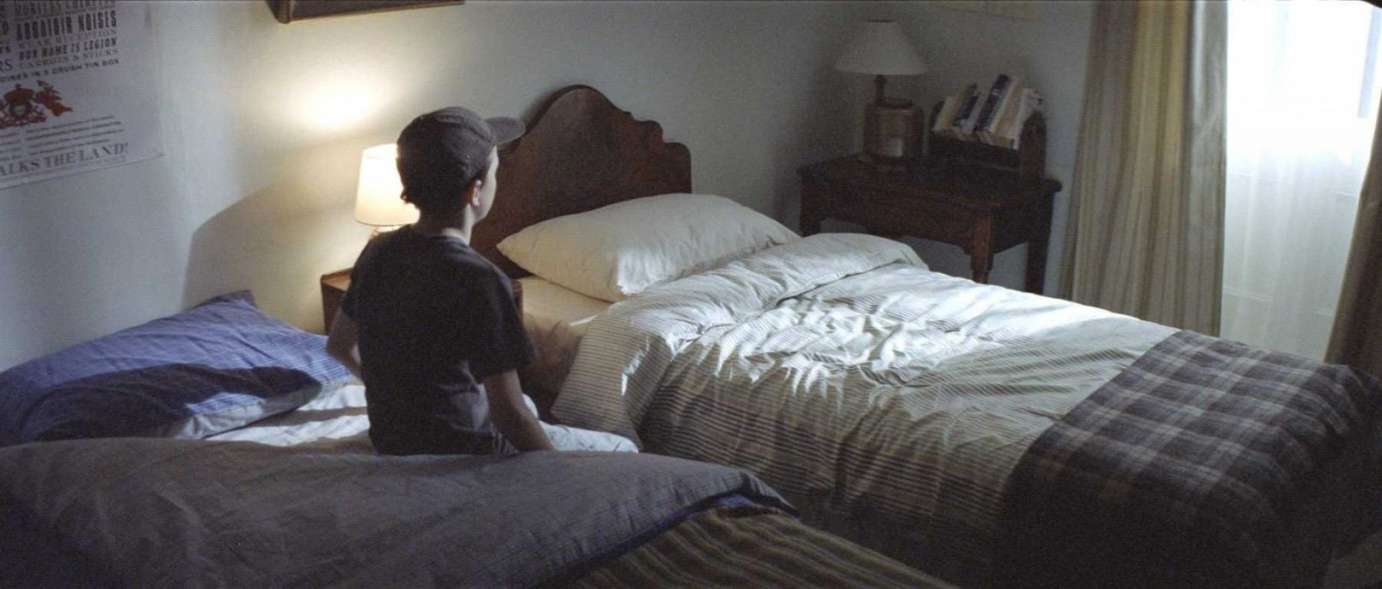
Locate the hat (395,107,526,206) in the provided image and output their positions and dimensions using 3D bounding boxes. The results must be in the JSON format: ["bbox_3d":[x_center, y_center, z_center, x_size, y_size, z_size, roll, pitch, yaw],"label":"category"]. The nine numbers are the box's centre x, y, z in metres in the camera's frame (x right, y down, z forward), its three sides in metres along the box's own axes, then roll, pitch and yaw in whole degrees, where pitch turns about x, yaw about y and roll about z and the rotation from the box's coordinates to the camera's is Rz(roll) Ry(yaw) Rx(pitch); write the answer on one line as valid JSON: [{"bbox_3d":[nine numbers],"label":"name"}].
[{"bbox_3d":[-0.612,-0.349,2.182,0.240,0.241,0.116,-5,25,-13],"label":"hat"}]
